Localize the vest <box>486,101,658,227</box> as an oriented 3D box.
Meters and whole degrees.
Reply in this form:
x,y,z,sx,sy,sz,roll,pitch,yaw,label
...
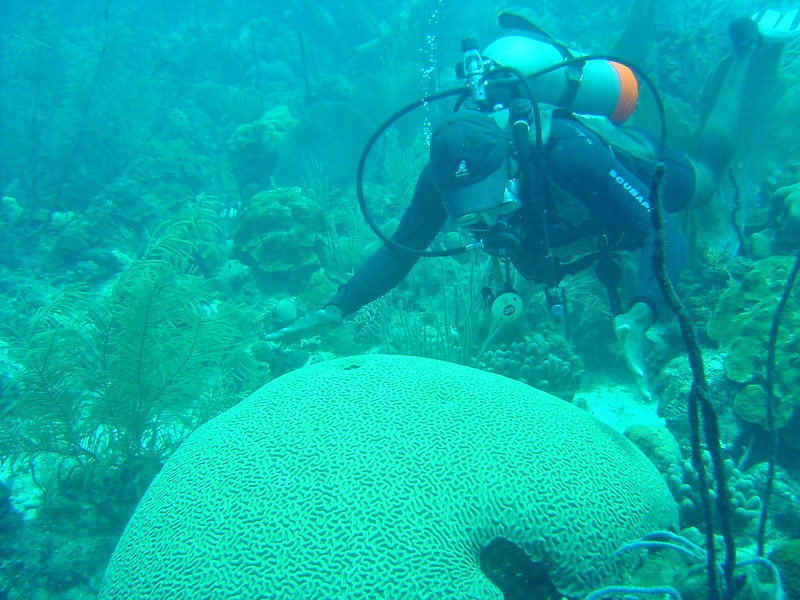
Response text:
x,y,z,sx,sy,sz,roll,pitch,yaw,label
2.041,-1.367,8.219,1.280,0.843,1.107,14,46,15,vest

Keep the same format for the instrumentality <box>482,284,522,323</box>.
x,y,z,sx,sy,sz,roll,pitch,yaw,label
1.064,-0.005,8.243,0.326,0.221,0.427,-23,41,-4,instrumentality
